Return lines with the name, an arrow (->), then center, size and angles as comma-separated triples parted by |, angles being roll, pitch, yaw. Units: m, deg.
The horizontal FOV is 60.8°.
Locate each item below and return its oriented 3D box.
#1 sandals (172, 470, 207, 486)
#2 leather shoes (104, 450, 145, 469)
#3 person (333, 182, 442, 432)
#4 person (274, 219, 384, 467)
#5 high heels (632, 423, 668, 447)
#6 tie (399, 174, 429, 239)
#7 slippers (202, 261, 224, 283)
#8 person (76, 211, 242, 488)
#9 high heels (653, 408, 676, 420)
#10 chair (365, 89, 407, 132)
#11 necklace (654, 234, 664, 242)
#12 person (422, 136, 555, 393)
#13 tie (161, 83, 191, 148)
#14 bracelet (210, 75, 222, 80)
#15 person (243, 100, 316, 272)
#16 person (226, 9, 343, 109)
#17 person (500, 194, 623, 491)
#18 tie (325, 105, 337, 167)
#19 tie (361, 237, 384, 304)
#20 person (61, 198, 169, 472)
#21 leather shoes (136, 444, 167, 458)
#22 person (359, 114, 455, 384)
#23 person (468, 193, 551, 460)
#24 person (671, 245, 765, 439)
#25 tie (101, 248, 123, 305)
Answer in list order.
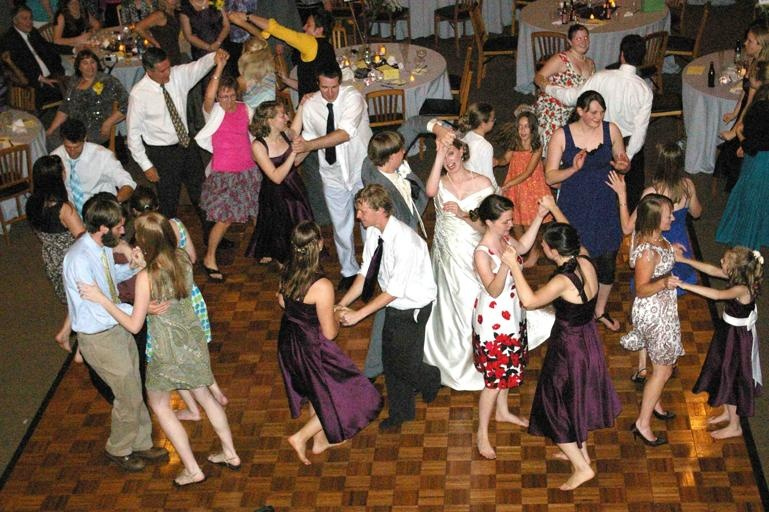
sandals -> -1.640, 1.883, 5.519 | 0.226, 0.094, 0.125 | 1, 37, -2
leather shoes -> -2.207, 1.785, 5.664 | 0.330, 0.147, 0.151 | 9, 62, -7
person -> 0.054, 0.476, 5.559 | 0.961, 2.132, 0.692 | -6, 19, -16
person -> -0.504, 0.717, 5.446 | 0.959, 1.937, 0.740 | -18, 23, -39
high heels -> 2.247, 1.546, 5.666 | 0.362, 0.170, 0.130 | 5, 32, 17
tie -> 0.210, -0.496, 5.957 | 0.158, 0.672, 0.264 | -35, 29, -31
slippers -> -1.902, 0.184, 7.372 | 0.139, 0.075, 0.277 | -27, 56, -31
person -> -1.723, 0.823, 5.236 | 0.786, 2.304, 0.398 | -13, 23, -23
high heels -> 2.445, 1.400, 5.788 | 0.201, 0.058, 0.105 | 3, 44, 10
chair -> 0.033, -1.898, 8.387 | 0.416, 0.734, 0.505 | -3, 74, -1
necklace -> 2.271, -0.143, 5.447 | 0.074, 0.020, 0.073 | -33, 54, -28
person -> 0.801, 0.287, 6.089 | 0.881, 1.783, 1.168 | 21, 31, 14
tie -> -2.228, -1.508, 7.079 | 0.229, 0.685, 0.144 | -16, 24, -28
bracelet -> -1.724, -1.845, 6.766 | 0.060, 0.044, 0.243 | -17, 26, -29
person -> -1.087, -0.771, 6.710 | 0.617, 1.876, 0.631 | 7, 31, 3
person -> -1.000, -1.997, 7.464 | 1.039, 1.544, 0.571 | -2, 33, 1
person -> 1.469, 0.791, 5.467 | 1.050, 2.448, 0.965 | -37, 45, -27
tie -> -0.541, -1.211, 6.510 | 0.109, 0.601, 0.139 | 4, 23, 19
tie -> -0.066, 0.058, 5.510 | 0.107, 0.080, 0.621 | 6, 50, 6
person -> -2.189, 0.681, 5.404 | 0.812, 2.330, 0.828 | -14, 50, -26
leather shoes -> -2.006, 1.727, 5.736 | 0.268, 0.122, 0.105 | -5, 55, -5
person -> 0.190, 0.016, 5.696 | 0.884, 2.544, 1.016 | -3, 54, 0
person -> 1.025, 0.691, 5.511 | 0.603, 2.391, 1.046 | 8, 39, 26
person -> 2.887, 0.818, 5.714 | 0.758, 1.680, 0.699 | 3, 42, 22
tie -> -2.169, 0.161, 5.220 | 0.095, 0.460, 0.257 | -11, 23, -17
